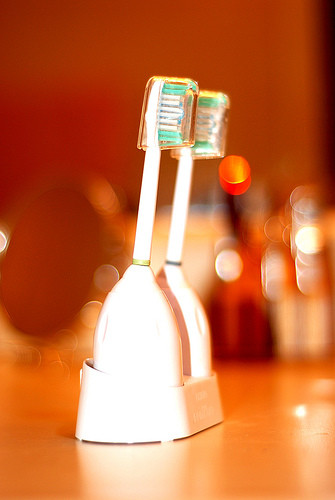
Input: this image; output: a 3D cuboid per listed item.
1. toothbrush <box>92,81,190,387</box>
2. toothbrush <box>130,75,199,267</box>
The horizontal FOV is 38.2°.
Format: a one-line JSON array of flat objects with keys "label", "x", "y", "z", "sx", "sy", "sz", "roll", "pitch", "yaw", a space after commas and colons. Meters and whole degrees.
[{"label": "toothbrush", "x": -0.010, "y": -0.001, "z": 0.288, "sx": 0.056, "sy": 0.181, "sz": 0.097, "roll": 7, "pitch": 27, "yaw": 2}, {"label": "toothbrush", "x": -0.003, "y": -0.048, "z": 0.299, "sx": 0.035, "sy": 0.109, "sz": 0.056, "roll": 6, "pitch": 27, "yaw": 1}]
